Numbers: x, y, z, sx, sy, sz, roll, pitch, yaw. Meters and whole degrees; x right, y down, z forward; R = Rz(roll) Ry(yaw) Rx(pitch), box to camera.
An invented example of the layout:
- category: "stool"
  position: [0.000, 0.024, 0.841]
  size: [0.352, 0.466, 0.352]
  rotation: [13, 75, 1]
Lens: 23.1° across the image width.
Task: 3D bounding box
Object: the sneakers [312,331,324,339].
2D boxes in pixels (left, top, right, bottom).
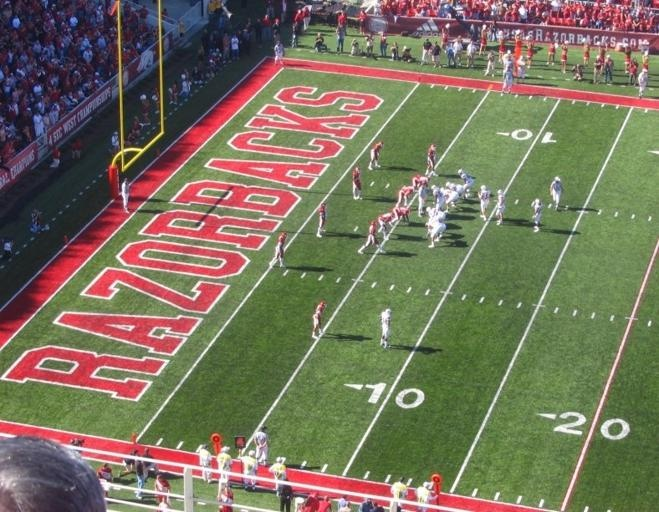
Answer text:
- category: "sneakers"
  position: [-0.383, 2.725, 55.328]
  size: [0.449, 0.124, 0.286]
  rotation: [-18, 32, -33]

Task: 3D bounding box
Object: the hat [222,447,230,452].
- category: "hat"
  position: [-3.214, 6.003, 50.019]
  size: [0.221, 0.128, 0.360]
  rotation: [0, 15, -7]

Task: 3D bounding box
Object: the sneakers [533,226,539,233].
- category: "sneakers"
  position: [7.742, -0.995, 60.409]
  size: [0.222, 0.160, 0.289]
  rotation: [5, 27, 7]

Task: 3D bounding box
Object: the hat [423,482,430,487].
- category: "hat"
  position: [2.966, 7.003, 49.421]
  size: [0.113, 0.149, 0.144]
  rotation: [7, -17, 7]

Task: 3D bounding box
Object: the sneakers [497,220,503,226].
- category: "sneakers"
  position: [6.396, -1.225, 60.940]
  size: [0.169, 0.089, 0.208]
  rotation: [5, 15, 16]

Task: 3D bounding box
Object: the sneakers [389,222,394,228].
- category: "sneakers"
  position: [2.374, -1.182, 61.042]
  size: [0.174, 0.087, 0.328]
  rotation: [11, 28, 18]

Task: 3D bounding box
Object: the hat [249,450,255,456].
- category: "hat"
  position: [-2.456, 6.266, 51.133]
  size: [0.138, 0.134, 0.137]
  rotation: [5, 13, 30]

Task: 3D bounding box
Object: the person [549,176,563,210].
- category: "person"
  position: [8.666, -2.599, 61.835]
  size: [0.504, 1.360, 1.594]
  rotation: [5, 27, 7]

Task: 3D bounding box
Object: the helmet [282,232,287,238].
- category: "helmet"
  position: [-1.645, -0.746, 58.473]
  size: [0.175, 0.088, 0.239]
  rotation: [-1, 5, 0]

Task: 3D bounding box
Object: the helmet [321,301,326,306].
- category: "helmet"
  position: [-0.222, 1.660, 55.416]
  size: [0.133, 0.162, 0.408]
  rotation: [4, 4, -1]

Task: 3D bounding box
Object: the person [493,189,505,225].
- category: "person"
  position: [6.404, -1.774, 61.071]
  size: [0.504, 1.310, 0.522]
  rotation: [12, 52, 16]

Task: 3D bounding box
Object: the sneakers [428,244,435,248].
- category: "sneakers"
  position: [3.753, -0.355, 59.609]
  size: [0.214, 0.073, 0.291]
  rotation: [3, 27, 3]

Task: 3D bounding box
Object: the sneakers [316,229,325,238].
- category: "sneakers"
  position: [-0.321, -0.820, 60.283]
  size: [0.233, 0.119, 0.300]
  rotation: [-6, 23, -17]

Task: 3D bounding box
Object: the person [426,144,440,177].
- category: "person"
  position: [4.081, -3.720, 64.193]
  size: [0.437, 1.298, 0.550]
  rotation: [24, 64, 19]

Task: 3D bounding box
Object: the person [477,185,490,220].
- category: "person"
  position: [5.846, -1.966, 61.547]
  size: [0.440, 0.524, 1.252]
  rotation: [-6, -13, 15]

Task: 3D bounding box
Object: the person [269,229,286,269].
- category: "person"
  position: [-1.909, -0.168, 59.032]
  size: [0.573, 1.259, 0.640]
  rotation: [21, 42, 16]
